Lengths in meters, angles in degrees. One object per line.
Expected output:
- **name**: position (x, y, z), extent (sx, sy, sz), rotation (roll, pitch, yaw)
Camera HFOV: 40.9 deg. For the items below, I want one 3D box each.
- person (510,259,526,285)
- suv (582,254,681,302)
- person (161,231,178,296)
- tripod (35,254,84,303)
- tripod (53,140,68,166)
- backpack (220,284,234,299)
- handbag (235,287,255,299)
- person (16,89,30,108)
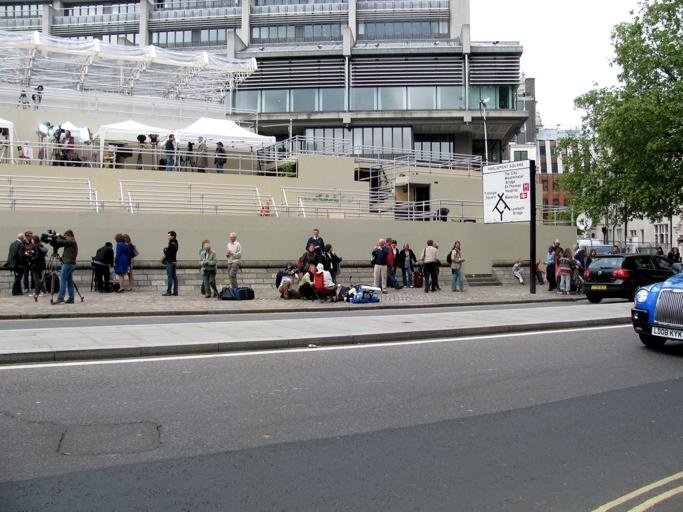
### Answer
- **person**: position (7.417, 0.604, 38.615), extent (0.505, 1.026, 2.037), rotation (3, 11, 11)
- **suv**: position (9.239, 0.553, 29.200), extent (2.847, 1.234, 1.315), rotation (-5, 4, -34)
- **person**: position (-5.366, 0.222, 28.542), extent (0.438, 2.050, 1.332), rotation (-1, 10, -11)
- **tripod**: position (-8.143, 0.648, 26.197), extent (0.960, 1.529, 0.933), rotation (3, -8, -12)
- **tripod**: position (-11.200, -4.077, 36.363), extent (0.517, 1.054, 3.349), rotation (-2, 12, -18)
- **backpack**: position (-3.443, 1.034, 27.250), extent (0.322, 0.378, 0.341), rotation (1, 6, 1)
- **handbag**: position (-2.943, 1.103, 27.278), extent (0.319, 0.336, 0.435), rotation (-3, -3, 38)
- **person**: position (-14.556, -7.298, 41.770), extent (0.529, 0.794, 0.917), rotation (-3, 11, -20)
